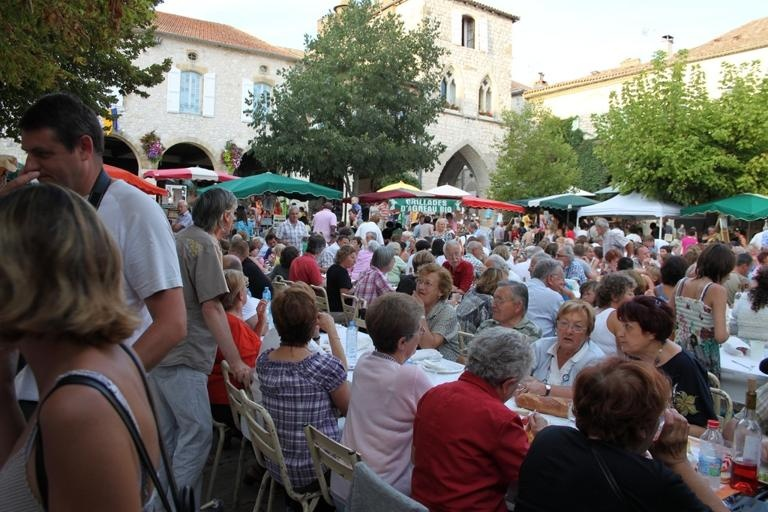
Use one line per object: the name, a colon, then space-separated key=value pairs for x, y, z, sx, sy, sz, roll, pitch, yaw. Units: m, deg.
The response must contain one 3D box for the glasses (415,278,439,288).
glasses: x=0.407 y=0.250 z=5.713 sx=0.116 sy=0.069 sz=0.122 roll=0 pitch=-6 yaw=16
